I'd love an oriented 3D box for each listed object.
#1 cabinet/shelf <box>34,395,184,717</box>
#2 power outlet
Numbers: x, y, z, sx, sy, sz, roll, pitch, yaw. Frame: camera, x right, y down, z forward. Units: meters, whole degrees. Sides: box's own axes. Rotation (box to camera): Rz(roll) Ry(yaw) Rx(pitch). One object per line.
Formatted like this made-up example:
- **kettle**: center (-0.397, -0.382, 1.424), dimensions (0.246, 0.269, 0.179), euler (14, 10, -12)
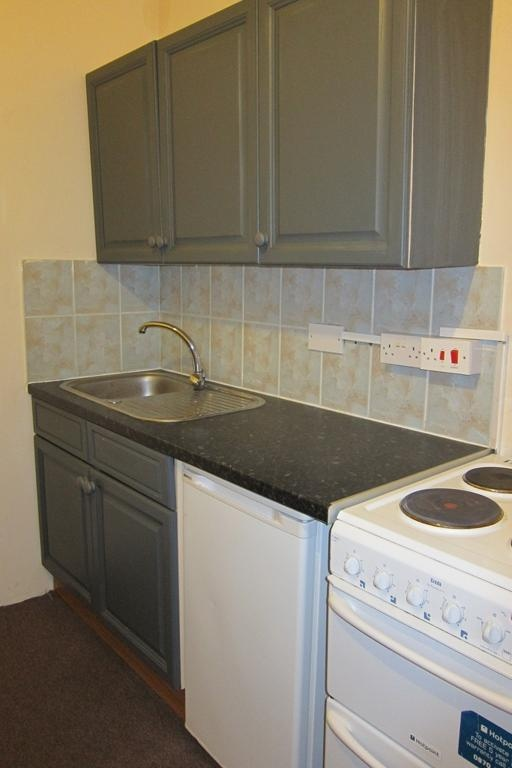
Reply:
- **cabinet/shelf**: center (-0.393, 0.431, 2.021), dimensions (0.804, 0.794, 0.415), euler (16, 22, 39)
- **power outlet**: center (0.423, -0.072, 1.464), dimensions (0.039, 0.090, 0.286), euler (-6, 11, -34)
